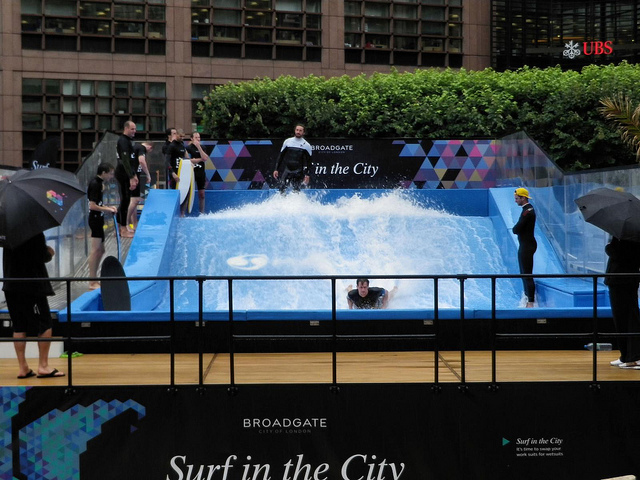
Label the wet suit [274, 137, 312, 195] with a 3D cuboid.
[{"bbox_3d":[-0.749,-2.133,27.098,1.190,0.759,3.080,8,-28,1],"label":"wet suit"}]

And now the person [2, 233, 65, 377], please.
[{"bbox_3d":[-5.862,1.310,19.423,1.047,2.831,0.784,-1,8,-4],"label":"person"}]

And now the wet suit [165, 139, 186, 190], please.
[{"bbox_3d":[-3.889,-2.099,26.116,0.521,1.354,0.832,-2,9,-9],"label":"wet suit"}]

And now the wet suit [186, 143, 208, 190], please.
[{"bbox_3d":[-3.413,-1.891,26.752,0.677,1.754,0.383,-4,-6,-23],"label":"wet suit"}]

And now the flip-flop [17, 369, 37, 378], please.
[{"bbox_3d":[-5.942,2.664,19.521,0.371,0.128,0.140,-2,2,-33],"label":"flip-flop"}]

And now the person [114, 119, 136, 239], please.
[{"bbox_3d":[-4.843,-1.541,24.094,0.502,2.935,0.705,-7,10,-36],"label":"person"}]

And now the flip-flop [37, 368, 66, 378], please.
[{"bbox_3d":[-5.482,2.649,19.553,0.428,0.152,0.190,-1,-3,-9],"label":"flip-flop"}]
